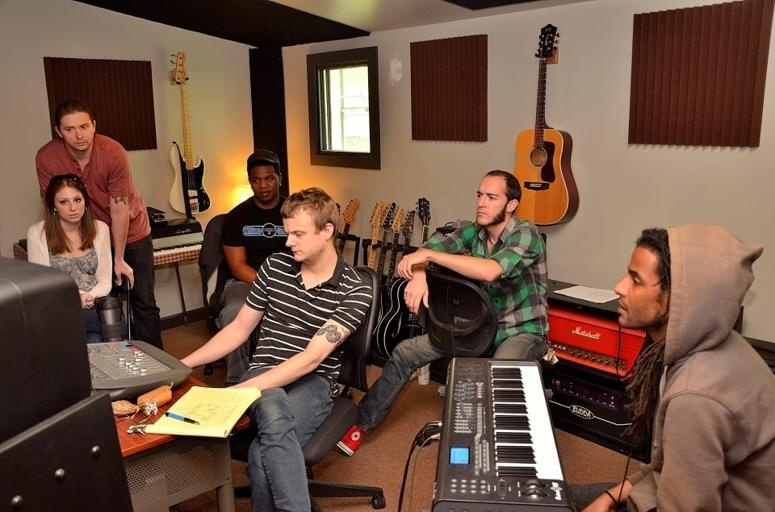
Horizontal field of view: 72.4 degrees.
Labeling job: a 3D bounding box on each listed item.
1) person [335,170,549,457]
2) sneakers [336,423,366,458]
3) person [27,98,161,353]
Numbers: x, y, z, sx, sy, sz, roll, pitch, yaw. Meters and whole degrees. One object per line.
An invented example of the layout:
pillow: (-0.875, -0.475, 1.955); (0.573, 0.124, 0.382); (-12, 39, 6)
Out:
person: (0.370, 0.367, 3.168); (1.355, 1.628, 1.004); (-5, 11, -18)
sneakers: (-0.222, 1.108, 3.212); (0.146, 0.172, 0.404); (41, -13, 1)
person: (-2.029, -0.114, 3.810); (0.661, 1.921, 0.481); (-12, 19, -34)
